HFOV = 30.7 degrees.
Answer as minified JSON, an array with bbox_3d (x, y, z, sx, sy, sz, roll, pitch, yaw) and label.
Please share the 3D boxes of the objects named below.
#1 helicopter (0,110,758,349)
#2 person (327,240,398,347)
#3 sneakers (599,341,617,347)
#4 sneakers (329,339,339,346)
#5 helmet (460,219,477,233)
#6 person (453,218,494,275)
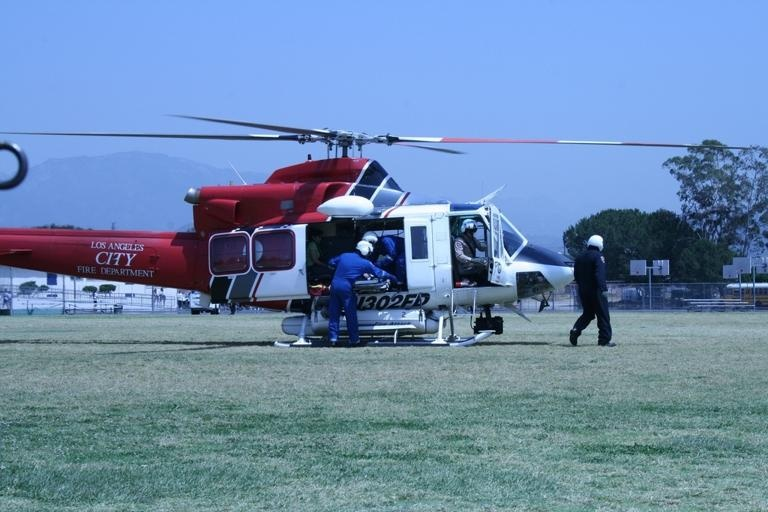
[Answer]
[{"bbox_3d":[-1.759,-0.464,35.635,15.075,6.039,5.875,0,13,6],"label":"helicopter"},{"bbox_3d":[-0.798,0.973,36.162,1.484,2.557,0.889,-8,15,-26],"label":"person"},{"bbox_3d":[5.685,2.241,35.558,0.422,0.150,0.152,-2,1,7],"label":"sneakers"},{"bbox_3d":[-1.315,2.244,36.088,0.210,0.226,0.535,-1,3,0],"label":"sneakers"},{"bbox_3d":[2.189,-0.783,36.549,0.324,0.264,0.346,2,-26,-30],"label":"helmet"},{"bbox_3d":[2.265,-0.200,36.527,0.938,1.522,0.537,-2,14,-1],"label":"person"}]
